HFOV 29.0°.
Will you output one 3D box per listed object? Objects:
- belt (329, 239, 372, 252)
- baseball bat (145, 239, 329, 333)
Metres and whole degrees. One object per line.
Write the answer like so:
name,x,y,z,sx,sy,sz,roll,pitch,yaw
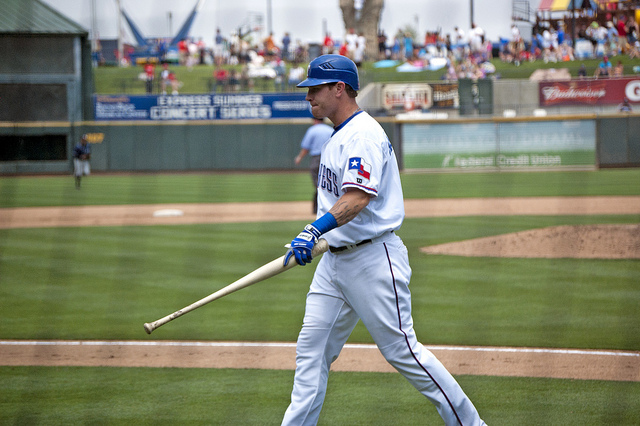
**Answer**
belt,0.215,0.227,8.689,0.299,0.084,0.039,-1,4,13
baseball bat,-0.747,0.636,10.381,1.466,0.166,0.170,-26,18,16
